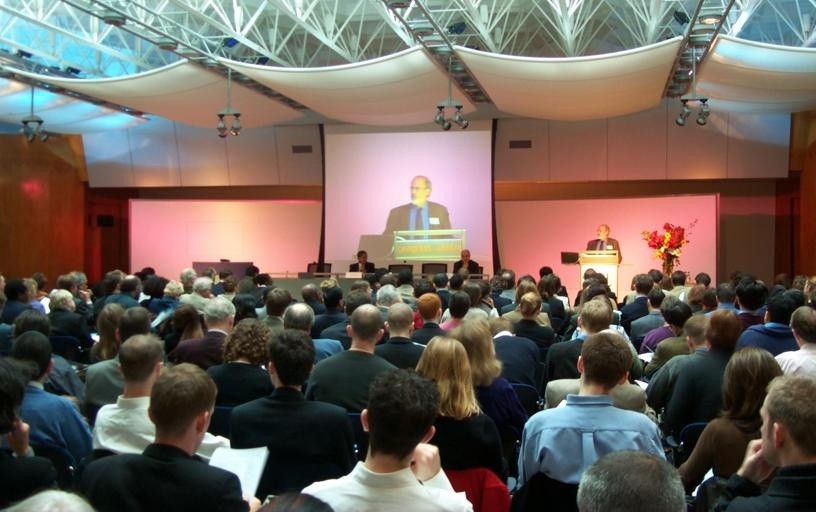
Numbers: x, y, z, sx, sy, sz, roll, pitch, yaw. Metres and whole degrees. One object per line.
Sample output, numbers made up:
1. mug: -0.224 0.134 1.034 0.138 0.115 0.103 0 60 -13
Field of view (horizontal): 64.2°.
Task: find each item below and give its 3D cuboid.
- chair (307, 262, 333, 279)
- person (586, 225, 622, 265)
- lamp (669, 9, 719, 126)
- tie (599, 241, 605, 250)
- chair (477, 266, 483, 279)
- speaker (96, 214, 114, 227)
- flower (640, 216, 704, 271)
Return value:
1. chair: -2.149 0.400 16.744 0.591 0.573 0.437 -2 -7 22
2. person: 4.465 -0.327 14.855 0.702 0.814 1.455 1 1 15
3. lamp: 5.829 -3.902 13.389 0.990 2.200 0.615 5 -6 -12
4. tie: 4.358 -0.228 14.580 0.200 0.047 0.021 31 -26 -35
5. chair: 1.707 0.403 15.214 0.227 0.312 0.269 0 -5 11
6. speaker: -9.760 -1.130 20.854 0.249 0.409 0.763 1 1 8
7. flower: 5.284 -0.041 13.151 0.792 0.833 0.860 4 4 32
